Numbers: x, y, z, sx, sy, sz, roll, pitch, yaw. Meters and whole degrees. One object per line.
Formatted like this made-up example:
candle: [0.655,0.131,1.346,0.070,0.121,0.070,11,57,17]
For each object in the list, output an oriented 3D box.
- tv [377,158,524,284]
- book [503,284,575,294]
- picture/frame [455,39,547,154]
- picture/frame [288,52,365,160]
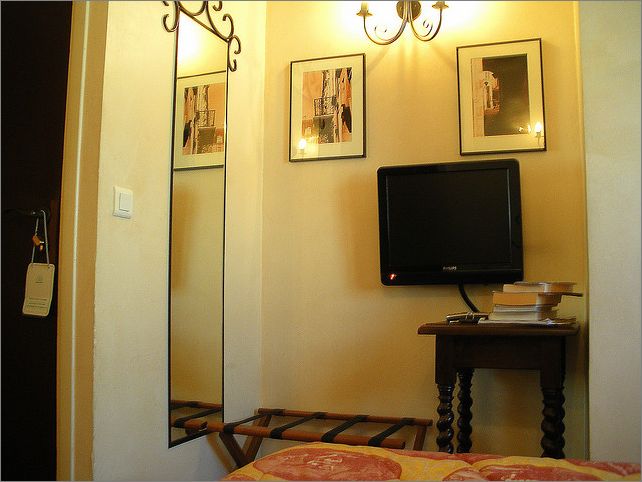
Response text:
tv: [0.660,-0.088,2.692,0.557,0.532,0.090,-2,-1,15]
book: [0.940,0.199,2.344,0.327,0.053,0.116,0,-2,-23]
picture/frame: [0.927,-0.716,2.767,0.533,0.801,0.030,-1,-4,13]
picture/frame: [0.044,-0.724,2.999,0.550,0.798,0.033,-1,-7,12]
